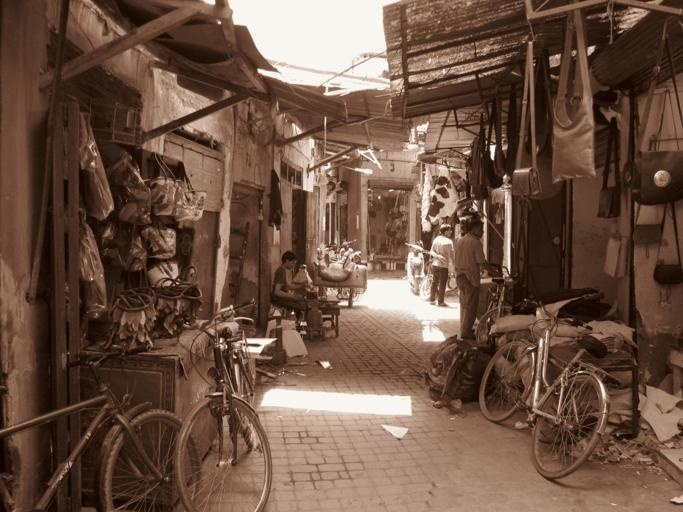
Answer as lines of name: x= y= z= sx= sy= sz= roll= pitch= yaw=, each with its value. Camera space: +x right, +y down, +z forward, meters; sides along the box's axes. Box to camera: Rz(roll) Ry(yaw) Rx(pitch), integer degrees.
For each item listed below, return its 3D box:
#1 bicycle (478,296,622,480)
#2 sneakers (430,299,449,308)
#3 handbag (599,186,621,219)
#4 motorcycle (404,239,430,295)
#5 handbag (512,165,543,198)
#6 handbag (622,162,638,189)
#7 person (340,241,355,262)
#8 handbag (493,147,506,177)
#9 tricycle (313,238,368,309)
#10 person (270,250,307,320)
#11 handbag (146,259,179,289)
bicycle: x=2.335 y=1.383 z=7.578 sx=1.146 sy=1.562 sz=2.271 roll=0 pitch=7 yaw=-1
sneakers: x=2.669 y=1.299 z=18.306 sx=0.468 sy=0.230 sz=0.171 roll=1 pitch=2 yaw=4
handbag: x=3.514 y=-0.706 z=8.763 sx=0.131 sy=0.464 sz=0.413 roll=3 pitch=1 yaw=-4
motorcycle: x=2.327 y=0.418 z=20.190 sx=0.746 sy=0.992 sz=1.495 roll=-1 pitch=1 yaw=2
handbag: x=2.092 y=-0.840 z=7.564 sx=0.324 sy=0.333 sz=0.560 roll=3 pitch=7 yaw=16
handbag: x=3.505 y=-0.976 z=8.094 sx=0.072 sy=0.308 sz=0.204 roll=1 pitch=-7 yaw=-3
person: x=0.176 y=-0.129 z=19.181 sx=0.490 sy=0.659 sz=1.742 roll=5 pitch=-5 yaw=0
handbag: x=2.399 y=-1.438 z=10.126 sx=0.175 sy=0.465 sz=0.486 roll=2 pitch=7 yaw=13
tricycle: x=-0.069 y=0.265 z=16.992 sx=1.541 sy=0.898 sz=1.040 roll=2 pitch=35 yaw=-12
person: x=-0.925 y=0.657 z=12.702 sx=0.702 sy=1.516 sz=0.624 roll=5 pitch=8 yaw=-5
handbag: x=-1.924 y=0.207 z=7.412 sx=0.214 sy=0.183 sz=0.354 roll=6 pitch=7 yaw=10
